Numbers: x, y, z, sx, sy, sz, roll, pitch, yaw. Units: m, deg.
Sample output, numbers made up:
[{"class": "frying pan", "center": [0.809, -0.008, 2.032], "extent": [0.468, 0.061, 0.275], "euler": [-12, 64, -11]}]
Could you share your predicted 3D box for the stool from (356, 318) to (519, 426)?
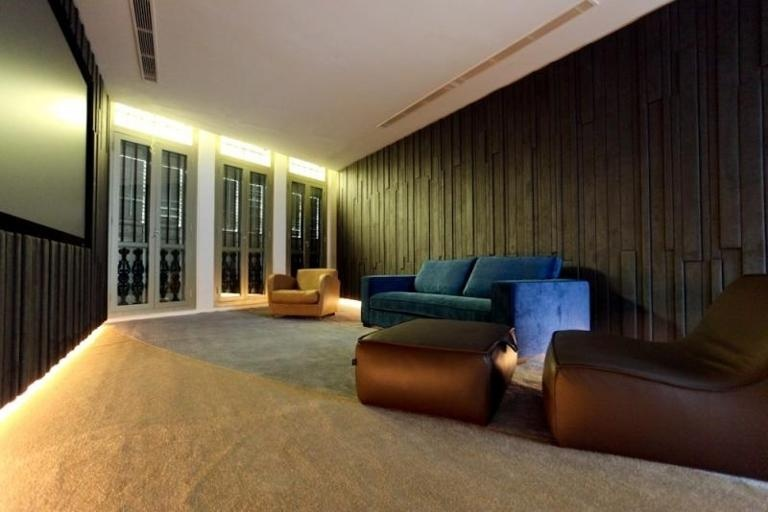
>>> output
[{"class": "stool", "center": [0.355, 0.754, 3.351], "extent": [0.684, 0.326, 0.741], "euler": [2, 6, 25]}]

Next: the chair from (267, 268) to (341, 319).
[{"class": "chair", "center": [-1.052, 0.490, 6.608], "extent": [0.857, 0.666, 0.841], "euler": [0, -4, 5]}]
